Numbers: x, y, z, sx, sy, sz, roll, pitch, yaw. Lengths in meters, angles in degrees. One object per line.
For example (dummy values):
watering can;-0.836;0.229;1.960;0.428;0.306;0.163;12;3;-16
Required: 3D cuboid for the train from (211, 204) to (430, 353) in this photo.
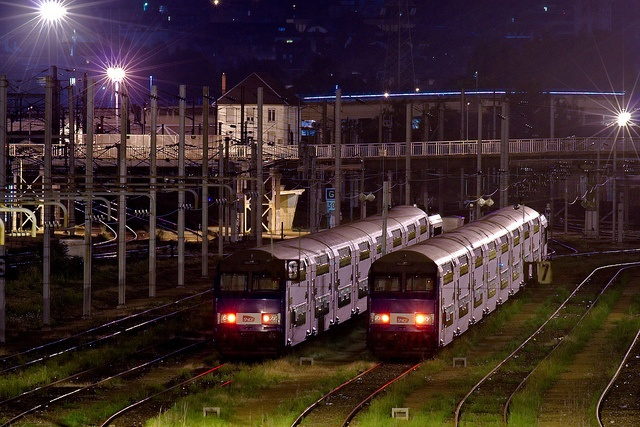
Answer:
train;-0.066;4.821;73.579;4.946;8.256;17.015;0;3;37
